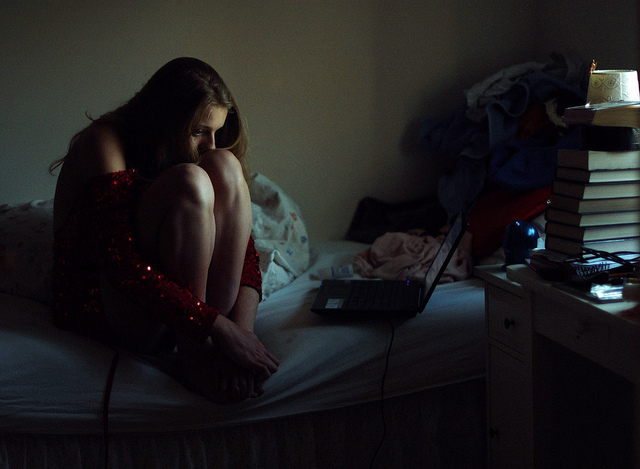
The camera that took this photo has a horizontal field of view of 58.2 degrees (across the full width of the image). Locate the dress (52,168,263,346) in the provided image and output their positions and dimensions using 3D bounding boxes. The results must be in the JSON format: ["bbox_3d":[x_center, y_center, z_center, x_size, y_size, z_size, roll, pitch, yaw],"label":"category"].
[{"bbox_3d":[-0.461,0.110,1.697,0.462,0.500,0.414,14,-8,26],"label":"dress"}]

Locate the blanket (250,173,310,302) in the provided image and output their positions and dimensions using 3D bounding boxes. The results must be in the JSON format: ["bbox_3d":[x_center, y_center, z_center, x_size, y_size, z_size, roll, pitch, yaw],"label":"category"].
[{"bbox_3d":[-0.238,0.009,2.225,0.291,0.413,0.116,-10,-20,-49],"label":"blanket"}]

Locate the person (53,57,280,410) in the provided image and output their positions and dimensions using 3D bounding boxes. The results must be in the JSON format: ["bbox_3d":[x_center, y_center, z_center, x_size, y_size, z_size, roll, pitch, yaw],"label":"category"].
[{"bbox_3d":[-0.454,-0.030,1.693,0.603,0.982,0.505,-3,-4,19],"label":"person"}]

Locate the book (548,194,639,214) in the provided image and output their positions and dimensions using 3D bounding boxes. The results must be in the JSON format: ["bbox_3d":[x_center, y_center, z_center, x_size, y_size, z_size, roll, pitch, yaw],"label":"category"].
[{"bbox_3d":[0.681,-0.076,1.418,0.086,0.022,0.093,0,22,4],"label":"book"}]

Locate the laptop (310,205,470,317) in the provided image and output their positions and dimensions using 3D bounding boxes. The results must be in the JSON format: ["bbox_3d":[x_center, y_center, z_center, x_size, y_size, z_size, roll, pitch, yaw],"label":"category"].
[{"bbox_3d":[0.227,0.069,1.831,0.514,0.315,0.560,4,6,27],"label":"laptop"}]
